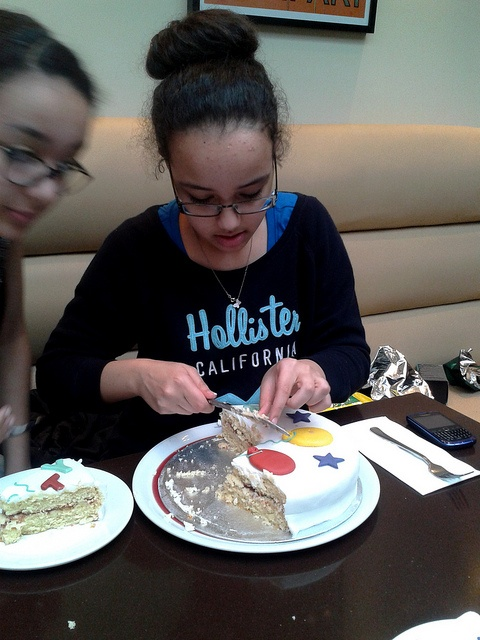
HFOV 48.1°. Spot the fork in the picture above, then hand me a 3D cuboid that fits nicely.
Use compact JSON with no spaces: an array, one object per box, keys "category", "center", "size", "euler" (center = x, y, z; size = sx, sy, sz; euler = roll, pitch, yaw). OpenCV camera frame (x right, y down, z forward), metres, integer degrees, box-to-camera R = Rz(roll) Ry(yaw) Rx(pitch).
[{"category":"fork","center":[0.324,0.240,1.057],"size":[0.045,0.035,0.307],"euler":[-10,15,-23]}]

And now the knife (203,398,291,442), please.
[{"category":"knife","center":[0.017,0.200,1.063],"size":[0.225,0.029,0.032],"euler":[19,67,37]}]

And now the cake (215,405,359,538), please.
[{"category":"cake","center":[0.085,0.257,1.018],"size":[0.238,0.092,0.416],"euler":[-5,11,-13]}]

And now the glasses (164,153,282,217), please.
[{"category":"glasses","center":[-0.028,-0.252,1.051],"size":[0.215,0.098,0.119],"euler":[-4,20,-6]}]
